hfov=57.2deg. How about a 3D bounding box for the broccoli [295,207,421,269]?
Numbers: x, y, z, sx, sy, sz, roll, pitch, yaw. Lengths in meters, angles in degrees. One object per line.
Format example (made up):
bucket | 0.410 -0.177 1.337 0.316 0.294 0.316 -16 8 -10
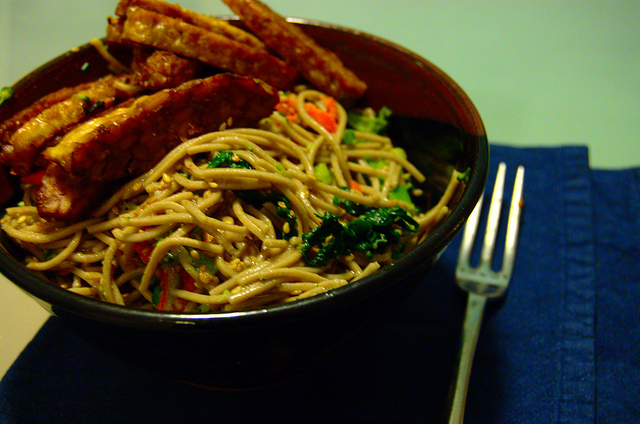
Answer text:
broccoli | 0.137 0.067 2.384 0.270 0.149 0.398 18 53 31

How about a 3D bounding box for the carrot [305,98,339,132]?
carrot | 0.008 -0.478 2.874 0.143 0.049 0.184 7 53 -37
